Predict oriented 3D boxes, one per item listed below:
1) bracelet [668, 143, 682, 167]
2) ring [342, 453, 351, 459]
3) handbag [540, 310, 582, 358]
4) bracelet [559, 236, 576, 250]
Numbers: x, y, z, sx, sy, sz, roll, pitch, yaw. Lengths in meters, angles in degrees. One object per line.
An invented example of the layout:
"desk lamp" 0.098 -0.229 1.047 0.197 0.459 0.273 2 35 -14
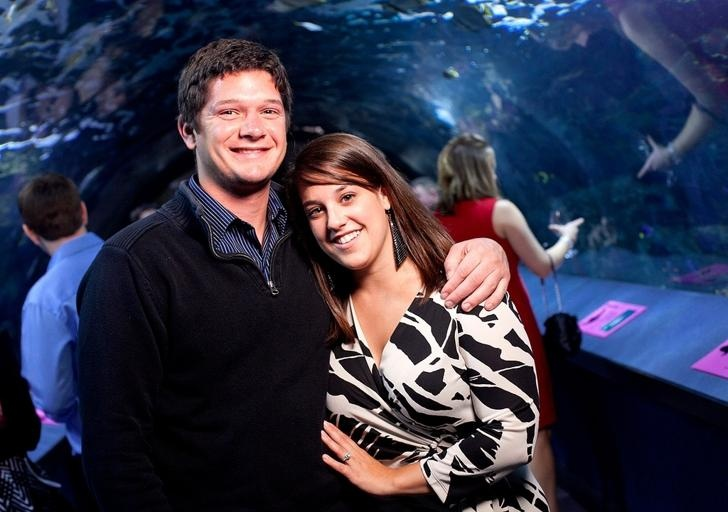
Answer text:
"bracelet" 2.442 -0.789 3.996 0.052 0.141 0.106 -29 -23 -9
"ring" -0.097 1.110 2.825 0.035 0.028 0.011 -55 -11 -19
"handbag" 1.807 0.694 4.599 0.268 0.356 0.121 -10 -28 37
"bracelet" 2.193 -0.133 5.470 0.147 0.138 0.147 1 2 9
